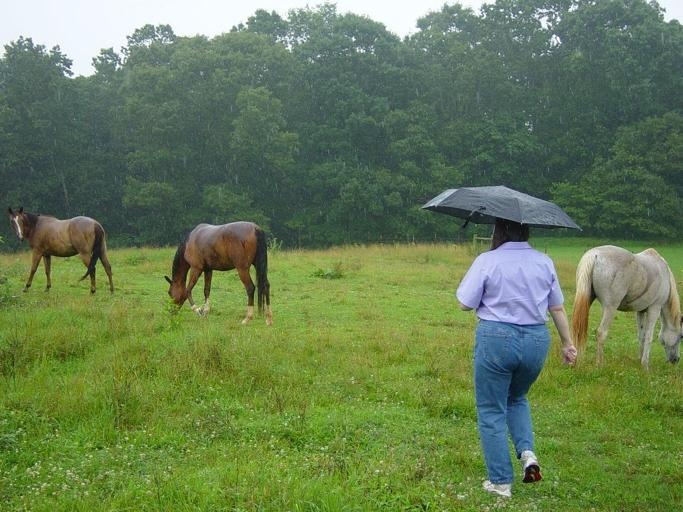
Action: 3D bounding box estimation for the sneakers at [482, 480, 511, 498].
[{"bbox_3d":[3.377,4.995,18.658,0.614,0.299,0.260,14,3,21],"label":"sneakers"}]

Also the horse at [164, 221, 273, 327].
[{"bbox_3d":[-3.851,0.490,26.424,4.045,3.057,1.134,-2,-1,33],"label":"horse"}]
